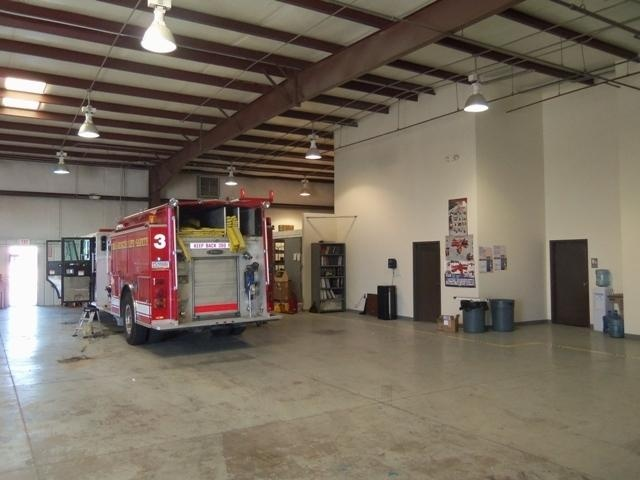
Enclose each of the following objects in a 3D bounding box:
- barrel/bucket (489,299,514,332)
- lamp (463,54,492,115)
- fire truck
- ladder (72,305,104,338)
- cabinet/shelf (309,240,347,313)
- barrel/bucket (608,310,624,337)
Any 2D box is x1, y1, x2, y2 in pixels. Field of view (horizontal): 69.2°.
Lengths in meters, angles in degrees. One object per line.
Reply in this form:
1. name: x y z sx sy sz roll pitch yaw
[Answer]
1. barrel/bucket: 4.963 2.007 12.626 0.672 0.894 0.649 0 -6 0
2. lamp: 3.893 -3.891 11.549 0.538 1.710 0.542 -2 -1 36
3. fire truck: -3.553 0.677 11.112 3.653 3.537 6.642 1 -2 -32
4. ladder: -6.422 2.235 12.810 0.497 0.703 0.522 7 -5 -30
5. cabinet/shelf: 0.298 1.333 16.672 1.294 2.466 0.528 0 1 -2
6. barrel/bucket: 7.466 2.110 11.711 0.332 0.612 0.474 0 1 28
